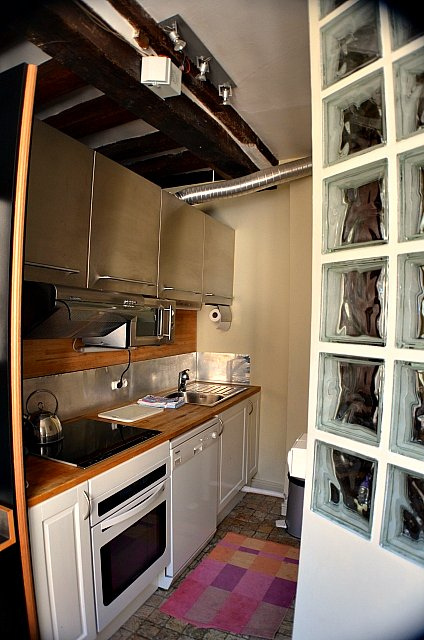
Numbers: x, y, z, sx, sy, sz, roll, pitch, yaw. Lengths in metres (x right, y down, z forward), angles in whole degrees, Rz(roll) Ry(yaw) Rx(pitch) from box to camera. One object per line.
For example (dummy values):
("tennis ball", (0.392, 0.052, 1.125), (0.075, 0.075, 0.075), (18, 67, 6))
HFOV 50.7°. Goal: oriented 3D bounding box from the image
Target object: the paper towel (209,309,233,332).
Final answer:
("paper towel", (0.070, 0.004, 3.664), (0.165, 0.163, 0.179), (-2, 2, 27))
